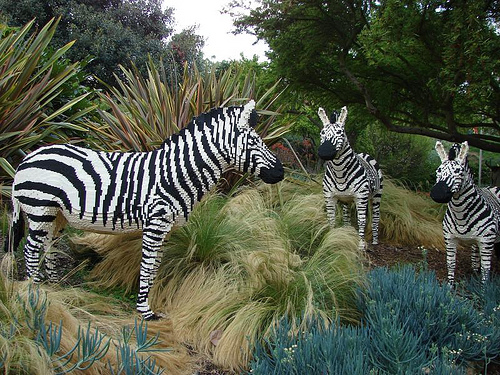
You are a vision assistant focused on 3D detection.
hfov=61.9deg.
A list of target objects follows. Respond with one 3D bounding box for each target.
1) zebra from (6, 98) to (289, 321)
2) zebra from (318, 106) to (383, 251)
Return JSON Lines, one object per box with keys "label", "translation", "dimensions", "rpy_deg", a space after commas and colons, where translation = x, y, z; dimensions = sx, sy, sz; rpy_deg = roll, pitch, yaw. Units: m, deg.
{"label": "zebra", "translation": [-1.041, 0.263, 4.094], "dimensions": [2.049, 1.871, 0.644], "rpy_deg": [2, -6, -3]}
{"label": "zebra", "translation": [1.353, -0.186, 5.624], "dimensions": [0.899, 2.040, 1.027], "rpy_deg": [7, 14, 25]}
